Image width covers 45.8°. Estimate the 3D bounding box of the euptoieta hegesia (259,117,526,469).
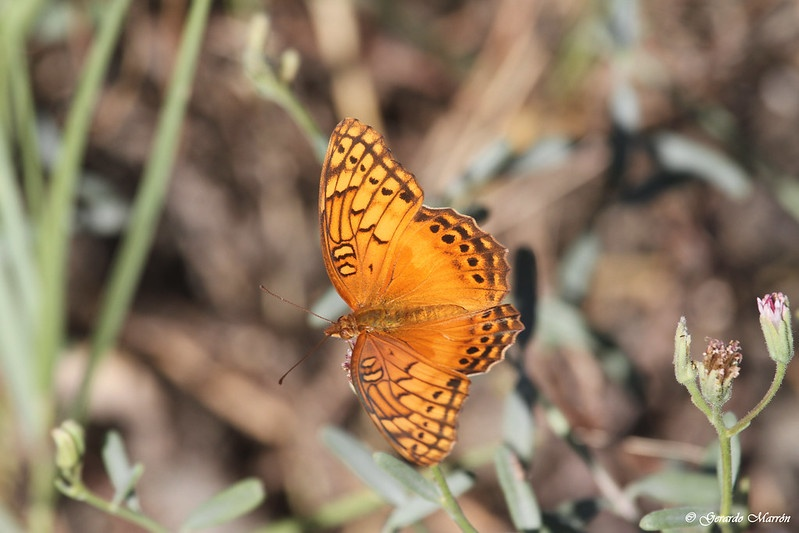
[{"bbox_3d":[-0.012,0.052,1.475,0.421,0.201,0.356,36,77,11],"label":"euptoieta hegesia"}]
